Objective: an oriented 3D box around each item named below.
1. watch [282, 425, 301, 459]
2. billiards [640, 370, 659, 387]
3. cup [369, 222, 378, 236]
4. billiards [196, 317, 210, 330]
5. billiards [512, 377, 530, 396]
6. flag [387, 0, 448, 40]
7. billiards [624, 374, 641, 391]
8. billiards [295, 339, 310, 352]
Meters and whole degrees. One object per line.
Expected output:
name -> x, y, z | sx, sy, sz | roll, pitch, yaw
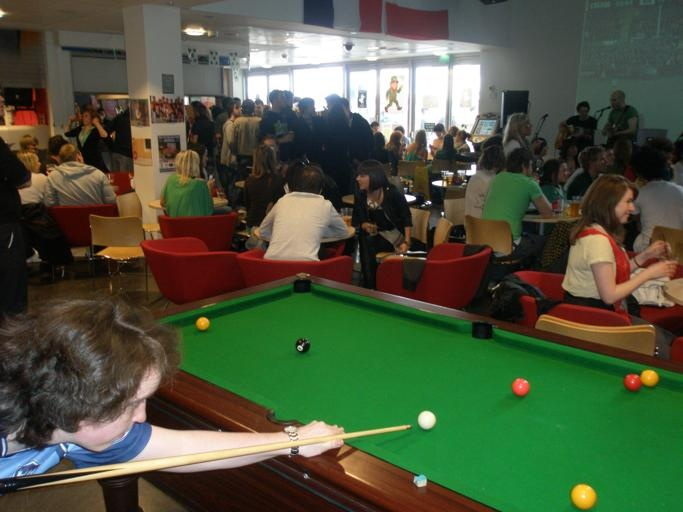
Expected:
watch -> -0.150, 0.572, 1.710 | 0.059, 0.097, 0.091 | 3, 43, -6
billiards -> 1.219, 0.486, 2.184 | 0.063, 0.069, 0.036 | -18, -10, 16
cup -> 0.307, -0.274, 5.274 | 0.085, 0.092, 0.158 | 1, -1, 3
billiards -> -0.689, 0.335, 2.731 | 0.057, 0.063, 0.058 | 0, -7, -21
billiards -> 0.697, 0.514, 2.146 | 0.059, 0.060, 0.061 | -3, 15, 4
flag -> 1.421, -4.328, 10.129 | 0.138, 0.696, 1.815 | 14, 16, 43
billiards -> 1.146, 0.502, 2.173 | 0.056, 0.062, 0.058 | -9, 6, -13
billiards -> -0.174, 0.406, 2.492 | 0.058, 0.063, 0.051 | -16, 8, 9
